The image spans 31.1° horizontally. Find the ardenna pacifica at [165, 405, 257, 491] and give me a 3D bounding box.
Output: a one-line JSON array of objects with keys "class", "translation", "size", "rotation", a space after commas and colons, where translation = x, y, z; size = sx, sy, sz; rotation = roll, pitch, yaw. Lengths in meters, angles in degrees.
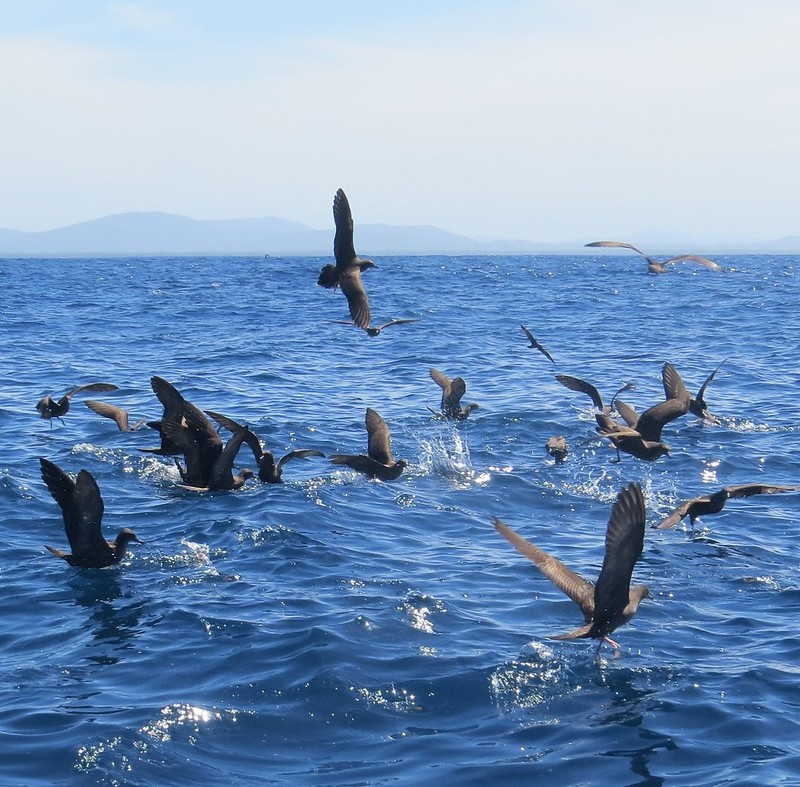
[{"class": "ardenna pacifica", "translation": [-2.662, 0.823, 19.503], "size": [1.375, 0.845, 1.534], "rotation": [3, -1, 13]}]

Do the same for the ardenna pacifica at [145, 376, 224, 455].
[{"class": "ardenna pacifica", "translation": [-2.988, 0.357, 18.741], "size": [1.204, 0.551, 1.338], "rotation": [-13, 19, -2]}]

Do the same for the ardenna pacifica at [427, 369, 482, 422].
[{"class": "ardenna pacifica", "translation": [0.949, 0.065, 25.020], "size": [0.839, 0.930, 1.450], "rotation": [2, 14, 2]}]

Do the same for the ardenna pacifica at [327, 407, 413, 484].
[{"class": "ardenna pacifica", "translation": [-0.354, 0.882, 20.844], "size": [1.177, 0.560, 1.373], "rotation": [13, 36, 6]}]

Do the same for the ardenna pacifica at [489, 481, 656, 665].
[{"class": "ardenna pacifica", "translation": [2.032, 1.761, 14.155], "size": [1.982, 1.413, 2.320], "rotation": [-1, -11, 0]}]

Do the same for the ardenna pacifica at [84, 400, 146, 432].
[{"class": "ardenna pacifica", "translation": [-4.553, 0.347, 22.853], "size": [0.712, 0.133, 0.915], "rotation": [-3, 18, -40]}]

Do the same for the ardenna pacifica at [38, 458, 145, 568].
[{"class": "ardenna pacifica", "translation": [-3.599, 1.412, 16.430], "size": [0.743, 1.511, 0.941], "rotation": [7, 16, 16]}]

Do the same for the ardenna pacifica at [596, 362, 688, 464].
[{"class": "ardenna pacifica", "translation": [3.533, 0.338, 20.255], "size": [1.068, 1.282, 1.930], "rotation": [5, 14, 12]}]
